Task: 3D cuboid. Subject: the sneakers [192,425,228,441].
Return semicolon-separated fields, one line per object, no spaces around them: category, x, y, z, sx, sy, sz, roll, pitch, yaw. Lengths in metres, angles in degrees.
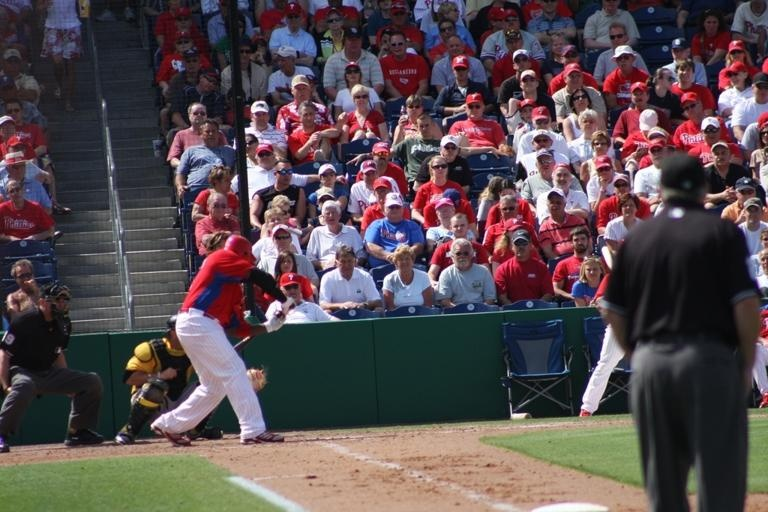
sneakers;-2.437;2.467;24.291;0.457;0.192;0.167;6;-9;-14

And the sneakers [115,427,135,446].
sneakers;-3.589;2.485;24.081;0.299;0.219;0.278;-2;-2;8

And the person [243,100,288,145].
person;-2.039;-2.098;28.215;0.924;0.741;0.483;0;2;-17

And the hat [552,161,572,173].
hat;2.766;-1.394;27.260;0.207;0.151;0.210;6;7;44

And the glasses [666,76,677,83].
glasses;4.789;-2.963;29.289;0.131;0.179;0.073;-1;-1;0

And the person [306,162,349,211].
person;-0.852;-1.094;27.359;0.616;1.029;0.690;-1;-9;-6

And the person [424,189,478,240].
person;1.007;-0.750;27.128;1.064;0.528;0.626;-14;1;24

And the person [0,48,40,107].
person;-5.763;-2.825;27.566;0.557;0.900;0.458;-26;4;-25

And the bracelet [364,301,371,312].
bracelet;-0.275;0.752;25.743;0.107;0.098;0.106;2;37;-9

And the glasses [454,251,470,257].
glasses;1.142;-0.027;25.827;0.186;0.081;0.051;-2;-2;-7

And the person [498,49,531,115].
person;2.297;-2.914;29.371;0.736;1.176;0.671;0;1;-5

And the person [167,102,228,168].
person;-2.929;-1.907;27.533;1.044;0.945;0.589;-4;2;-15

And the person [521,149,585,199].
person;2.609;-1.270;27.524;0.713;0.654;0.392;-11;-8;4

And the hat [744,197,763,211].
hat;5.498;-0.779;26.118;0.220;0.160;0.358;1;-10;11

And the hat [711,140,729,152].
hat;5.271;-1.737;27.511;0.258;0.193;0.513;-2;-2;11

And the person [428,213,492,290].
person;1.138;-0.007;26.344;1.015;1.352;0.785;-6;-24;4

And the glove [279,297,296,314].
glove;-1.304;0.643;23.386;0.194;0.158;0.262;18;-36;-24

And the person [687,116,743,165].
person;5.236;-1.800;28.062;1.041;0.854;0.563;-8;5;12

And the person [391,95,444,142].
person;0.484;-2.086;28.481;0.706;1.033;0.563;1;-16;-14

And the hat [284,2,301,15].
hat;-1.585;-4.276;30.142;0.248;0.250;0.284;-2;-2;2

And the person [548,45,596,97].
person;3.099;-3.175;29.496;0.951;0.969;0.598;-4;17;18

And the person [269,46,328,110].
person;-1.537;-3.005;29.316;0.970;1.019;0.674;-7;-10;28

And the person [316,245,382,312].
person;-0.496;0.494;25.725;1.012;1.268;1.015;-3;9;6

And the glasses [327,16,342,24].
glasses;-0.885;-4.100;30.208;0.249;0.142;0.167;-2;-2;-2

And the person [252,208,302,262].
person;-1.693;-0.223;26.214;1.003;1.035;0.531;1;-6;-6

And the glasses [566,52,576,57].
glasses;3.134;-3.390;29.445;0.165;0.087;0.056;-2;-2;5

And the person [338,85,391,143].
person;-0.366;-2.180;28.580;0.882;1.257;0.980;-2;5;-19

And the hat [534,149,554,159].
hat;2.532;-1.606;27.538;0.204;0.147;0.333;0;3;13

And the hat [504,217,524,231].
hat;1.965;-0.459;26.338;0.331;0.208;0.251;-2;-2;4

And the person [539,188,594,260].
person;2.687;-0.399;26.716;0.850;1.205;0.655;-5;-7;-20

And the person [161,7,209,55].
person;-3.286;-3.493;27.998;0.583;0.914;0.479;-2;3;13

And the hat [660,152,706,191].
hat;3.271;-0.875;19.227;0.345;0.478;0.439;0;-9;9

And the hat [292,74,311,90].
hat;-1.403;-2.871;28.587;0.201;0.149;0.285;-3;-14;-5

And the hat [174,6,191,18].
hat;-3.220;-3.888;27.839;0.347;0.173;0.057;-4;-2;43

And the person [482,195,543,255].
person;1.861;-0.542;26.625;0.757;0.671;1.023;3;-42;6

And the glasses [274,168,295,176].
glasses;-1.575;-1.302;27.008;0.233;0.141;0.351;-2;-2;-3

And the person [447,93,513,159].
person;1.605;-2.157;28.840;0.952;1.232;1.039;-2;-2;-11

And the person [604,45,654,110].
person;4.098;-3.007;29.706;0.830;1.138;0.688;-1;11;20

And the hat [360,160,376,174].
hat;-0.278;-1.397;27.438;0.274;0.205;0.268;-2;-2;10

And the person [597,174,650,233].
person;3.651;-0.764;26.856;0.809;1.102;0.703;-4;1;1

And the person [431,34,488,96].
person;1.206;-3.204;30.017;0.935;1.169;0.624;-5;-3;-10

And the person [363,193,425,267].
person;0.170;-0.277;26.704;0.996;1.312;0.752;-2;-11;6

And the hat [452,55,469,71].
hat;1.264;-3.241;29.358;0.302;0.221;0.491;-7;-1;3

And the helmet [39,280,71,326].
helmet;-4.526;0.665;24.050;0.425;0.530;0.523;2;-12;-24

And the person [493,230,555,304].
person;2.054;0.273;26.049;0.910;1.386;0.767;-2;-11;-3

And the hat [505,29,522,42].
hat;2.186;-3.791;30.025;0.219;0.128;0.220;-2;6;12

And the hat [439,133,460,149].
hat;1.023;-1.820;27.808;0.303;0.177;0.494;1;-4;0
